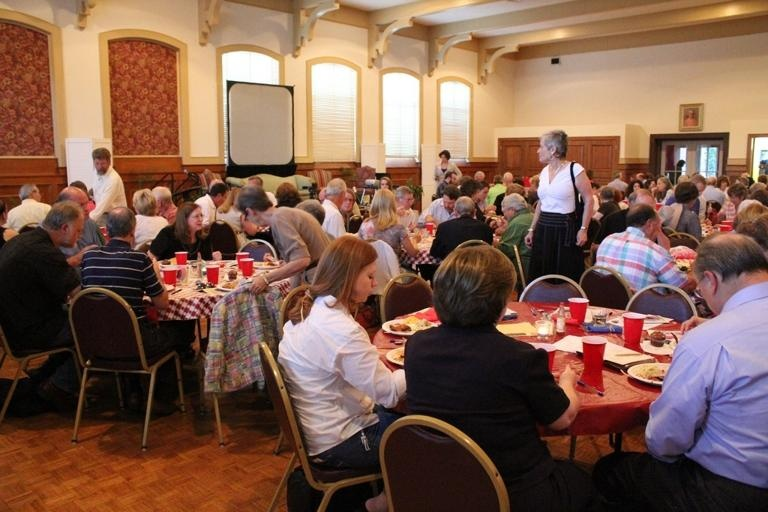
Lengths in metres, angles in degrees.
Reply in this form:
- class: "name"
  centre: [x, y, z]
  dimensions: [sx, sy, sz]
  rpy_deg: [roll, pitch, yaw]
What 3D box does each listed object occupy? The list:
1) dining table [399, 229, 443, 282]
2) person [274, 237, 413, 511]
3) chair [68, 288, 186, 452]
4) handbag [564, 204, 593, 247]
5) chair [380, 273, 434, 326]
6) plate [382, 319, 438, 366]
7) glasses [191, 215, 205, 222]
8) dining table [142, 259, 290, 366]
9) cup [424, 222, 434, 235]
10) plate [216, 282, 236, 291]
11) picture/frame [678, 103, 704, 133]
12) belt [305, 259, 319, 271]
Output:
- class: "dining table"
  centre: [0.411, -0.016, 5.987]
  dimensions: [0.545, 0.396, 0.536]
  rpy_deg: [1, 13, 9]
- class: "person"
  centre: [-0.216, 0.484, 2.548]
  dimensions: [0.565, 1.123, 0.363]
  rpy_deg: [-2, 12, -13]
- class: "chair"
  centre: [-1.891, 0.704, 3.926]
  dimensions: [0.748, 1.135, 0.671]
  rpy_deg: [2, 11, 10]
- class: "handbag"
  centre: [1.833, -0.278, 4.981]
  dimensions: [0.272, 0.370, 0.270]
  rpy_deg: [16, -15, 0]
- class: "chair"
  centre: [0.151, 0.295, 3.843]
  dimensions: [0.325, 0.556, 0.358]
  rpy_deg: [-3, 6, -21]
- class: "plate"
  centre: [0.141, 0.484, 3.084]
  dimensions: [0.266, 0.044, 0.264]
  rpy_deg: [3, 11, 38]
- class: "glasses"
  centre: [-1.726, -0.364, 4.921]
  dimensions: [0.091, 0.059, 0.076]
  rpy_deg: [14, 11, -44]
- class: "dining table"
  centre: [-1.404, 0.336, 4.282]
  dimensions: [0.945, 0.505, 0.925]
  rpy_deg: [1, 1, 4]
- class: "cup"
  centre: [0.608, -0.359, 7.019]
  dimensions: [0.157, 0.153, 0.152]
  rpy_deg: [0, 6, 0]
- class: "plate"
  centre: [-1.208, 0.228, 4.081]
  dimensions: [0.088, 0.013, 0.087]
  rpy_deg: [5, 15, 27]
- class: "picture/frame"
  centre: [8.032, -3.629, 13.913]
  dimensions: [0.769, 0.943, 0.096]
  rpy_deg: [6, 10, 38]
- class: "belt"
  centre: [-0.545, 0.062, 4.086]
  dimensions: [0.133, 0.096, 0.131]
  rpy_deg: [0, 1, -29]
